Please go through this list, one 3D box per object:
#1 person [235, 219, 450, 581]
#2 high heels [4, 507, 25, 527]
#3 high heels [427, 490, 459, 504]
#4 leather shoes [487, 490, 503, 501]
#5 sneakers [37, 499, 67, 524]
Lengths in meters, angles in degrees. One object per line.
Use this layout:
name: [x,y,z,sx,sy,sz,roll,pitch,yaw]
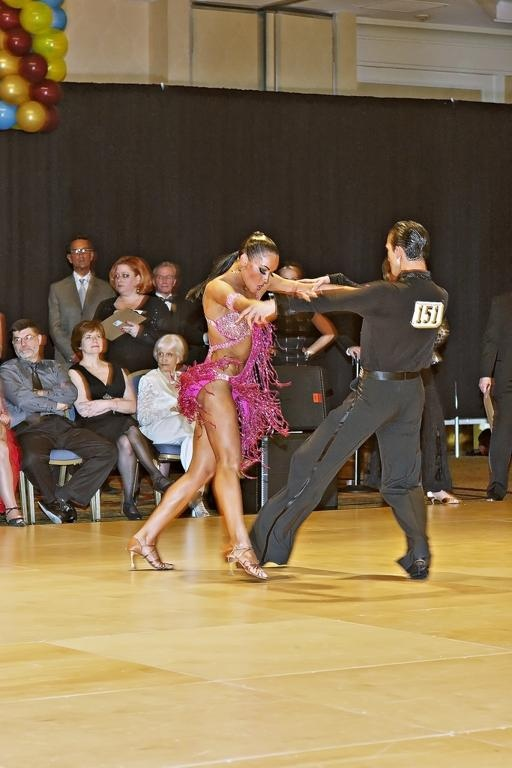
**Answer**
person: [0.495,0.078,3.422,0.951,1.819,0.593,-1,-6,0]
high heels: [-1.867,1.032,5.410,0.153,0.146,0.248,2,-6,-20]
high heels: [1.764,1.072,6.548,0.270,0.102,0.131,0,4,38]
leather shoes: [2.294,1.080,6.671,0.120,0.098,0.097,-8,-7,41]
sneakers: [-1.633,1.037,5.613,0.154,0.174,0.366,4,-7,-34]
